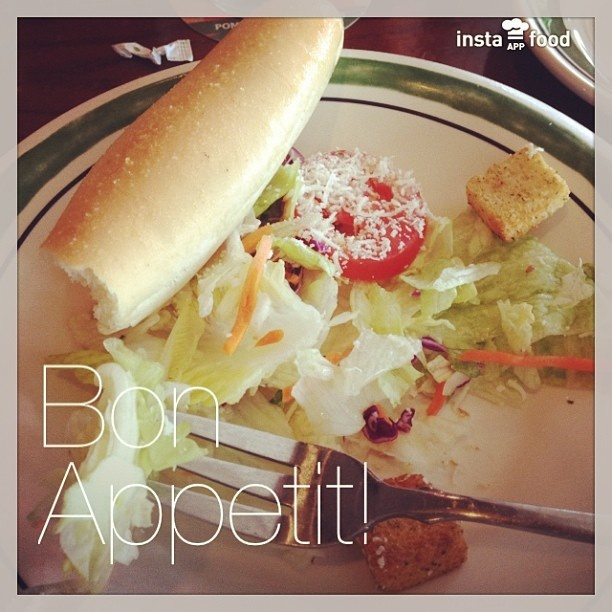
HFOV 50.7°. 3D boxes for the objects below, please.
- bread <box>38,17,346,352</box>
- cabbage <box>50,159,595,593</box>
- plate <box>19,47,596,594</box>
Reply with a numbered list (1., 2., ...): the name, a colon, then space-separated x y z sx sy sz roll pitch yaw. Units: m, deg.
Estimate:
1. bread: -0.185 -0.239 1.078 0.244 0.159 0.659 35 79 9
2. cabbage: 0.015 0.124 1.189 0.999 0.184 0.609 -26 86 -9
3. plate: 0.076 0.091 1.222 1.013 0.940 0.659 -30 45 -33
